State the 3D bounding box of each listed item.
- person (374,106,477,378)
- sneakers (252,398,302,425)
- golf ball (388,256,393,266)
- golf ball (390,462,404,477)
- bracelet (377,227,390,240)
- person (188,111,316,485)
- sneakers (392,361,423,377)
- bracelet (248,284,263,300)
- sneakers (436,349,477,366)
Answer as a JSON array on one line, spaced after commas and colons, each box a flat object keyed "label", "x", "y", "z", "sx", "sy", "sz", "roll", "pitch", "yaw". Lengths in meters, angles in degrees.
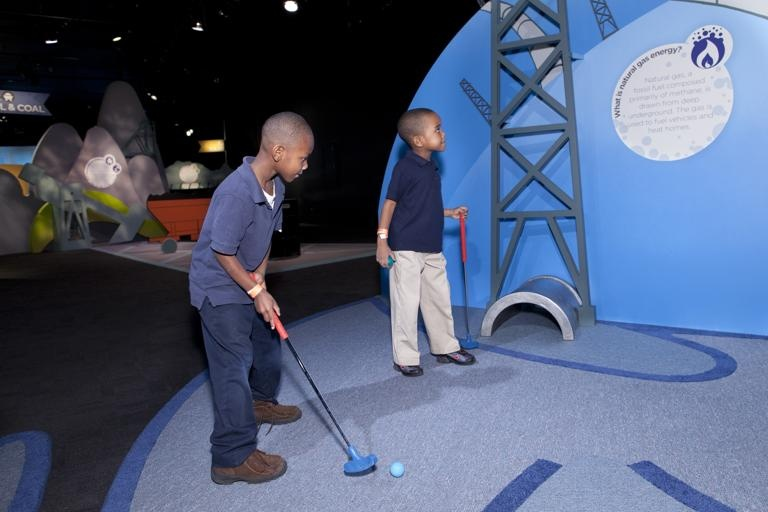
[{"label": "person", "x": 0.305, "y": -0.124, "z": 4.168, "sx": 0.739, "sy": 2.243, "sz": 0.402, "roll": -4, "pitch": 9, "yaw": -18}, {"label": "sneakers", "x": -0.803, "y": 1.159, "z": 3.638, "sx": 0.376, "sy": 0.185, "sz": 0.159, "roll": -2, "pitch": 8, "yaw": -12}, {"label": "golf ball", "x": 0.054, "y": 0.044, "z": 4.076, "sx": 0.060, "sy": 0.052, "sz": 0.052, "roll": 1, "pitch": 51, "yaw": -11}, {"label": "golf ball", "x": 0.080, "y": 1.348, "z": 3.057, "sx": 0.097, "sy": 0.071, "sz": 0.068, "roll": -1, "pitch": 9, "yaw": -1}, {"label": "bracelet", "x": -0.010, "y": -0.189, "z": 4.090, "sx": 0.081, "sy": 0.089, "sz": 0.087, "roll": -3, "pitch": 6, "yaw": 10}, {"label": "person", "x": -0.868, "y": 0.252, "z": 3.156, "sx": 0.738, "sy": 2.309, "sz": 0.574, "roll": -6, "pitch": 10, "yaw": -28}, {"label": "sneakers", "x": 0.220, "y": 0.962, "z": 4.171, "sx": 0.093, "sy": 0.109, "sz": 0.222, "roll": -6, "pitch": 6, "yaw": -45}, {"label": "bracelet", "x": -0.797, "y": 0.217, "z": 2.947, "sx": 0.082, "sy": 0.086, "sz": 0.028, "roll": -38, "pitch": 21, "yaw": 0}, {"label": "sneakers", "x": 0.649, "y": 0.878, "z": 4.310, "sx": 0.325, "sy": 0.159, "sz": 0.150, "roll": -3, "pitch": 2, "yaw": 15}]
